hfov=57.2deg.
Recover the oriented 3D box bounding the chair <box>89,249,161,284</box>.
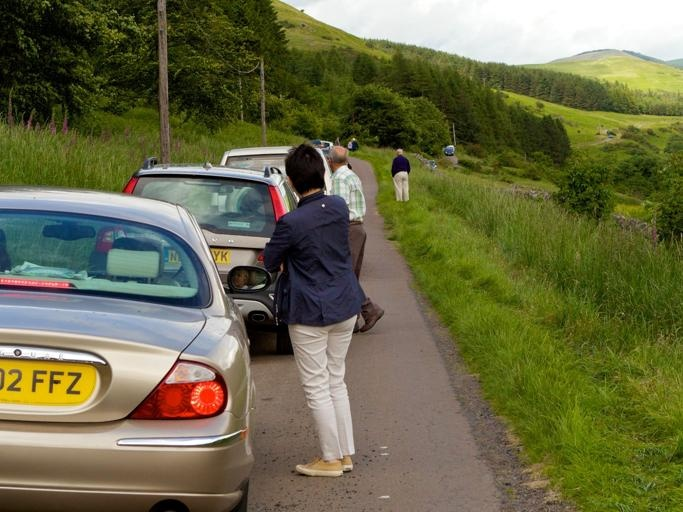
[{"bbox_3d":[-1.243,0.061,3.719,0.251,0.218,0.257,4,-25,-11],"label":"chair"}]

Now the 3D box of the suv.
[{"bbox_3d":[-1.308,-0.276,7.295,1.281,1.185,2.385,2,4,5],"label":"suv"}]

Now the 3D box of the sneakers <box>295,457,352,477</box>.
[{"bbox_3d":[-0.143,1.548,4.609,0.372,0.151,0.164,2,-4,2],"label":"sneakers"}]
